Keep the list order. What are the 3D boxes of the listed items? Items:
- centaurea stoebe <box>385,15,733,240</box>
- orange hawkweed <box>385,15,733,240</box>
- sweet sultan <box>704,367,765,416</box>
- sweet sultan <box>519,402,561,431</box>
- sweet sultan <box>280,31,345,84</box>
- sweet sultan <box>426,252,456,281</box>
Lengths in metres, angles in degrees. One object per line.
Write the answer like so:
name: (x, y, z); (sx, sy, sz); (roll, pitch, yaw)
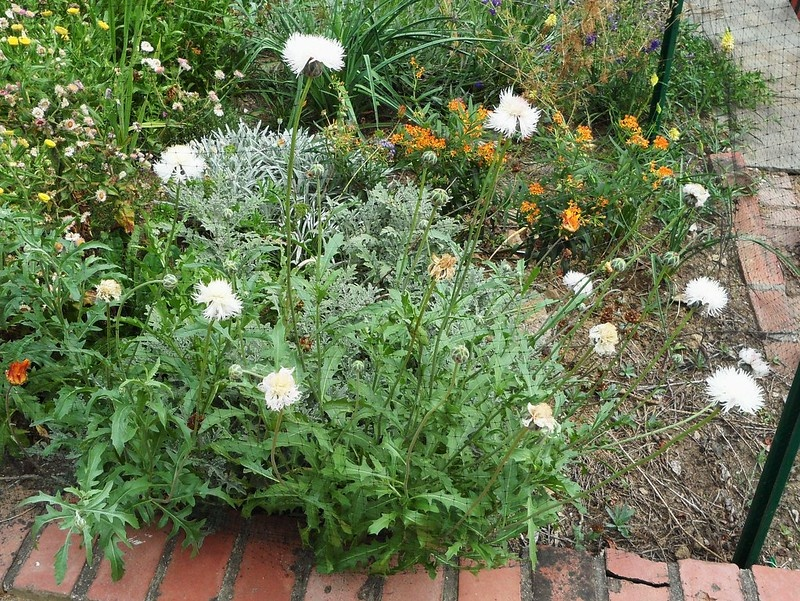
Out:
centaurea stoebe: (0.778, -0.886, 3.272); (0.941, 0.492, 1.013); (24, 62, 16)
orange hawkweed: (0.778, -0.886, 3.272); (0.941, 0.492, 1.013); (24, 62, 16)
sweet sultan: (0.882, 0.226, 1.690); (0.140, 0.073, 0.154); (23, 49, 16)
sweet sultan: (0.357, 0.299, 1.629); (0.081, 0.085, 0.076); (32, 76, 12)
sweet sultan: (-0.210, -0.610, 1.587); (0.155, 0.090, 0.179); (1, 42, -4)
sweet sultan: (0.113, -0.093, 1.725); (0.079, 0.051, 0.090); (-6, 51, 4)
